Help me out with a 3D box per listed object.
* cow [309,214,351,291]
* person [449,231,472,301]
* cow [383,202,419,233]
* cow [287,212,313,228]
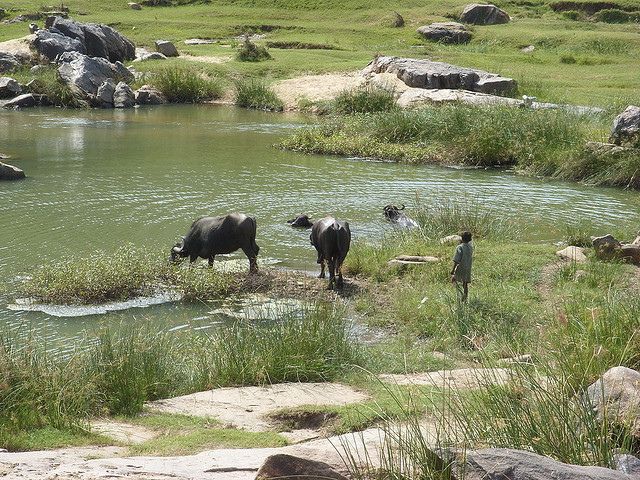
[{"bbox_3d":[0.378,0.380,33.853,0.776,2.131,1.174,-7,17,-27],"label":"cow"},{"bbox_3d":[4.366,0.737,32.448,0.614,1.911,0.751,-4,17,-40],"label":"person"},{"bbox_3d":[2.862,-0.675,37.585,0.569,0.832,1.459,-15,40,-12],"label":"cow"},{"bbox_3d":[-0.707,-0.775,37.636,0.696,0.494,1.209,-8,18,-30],"label":"cow"}]
